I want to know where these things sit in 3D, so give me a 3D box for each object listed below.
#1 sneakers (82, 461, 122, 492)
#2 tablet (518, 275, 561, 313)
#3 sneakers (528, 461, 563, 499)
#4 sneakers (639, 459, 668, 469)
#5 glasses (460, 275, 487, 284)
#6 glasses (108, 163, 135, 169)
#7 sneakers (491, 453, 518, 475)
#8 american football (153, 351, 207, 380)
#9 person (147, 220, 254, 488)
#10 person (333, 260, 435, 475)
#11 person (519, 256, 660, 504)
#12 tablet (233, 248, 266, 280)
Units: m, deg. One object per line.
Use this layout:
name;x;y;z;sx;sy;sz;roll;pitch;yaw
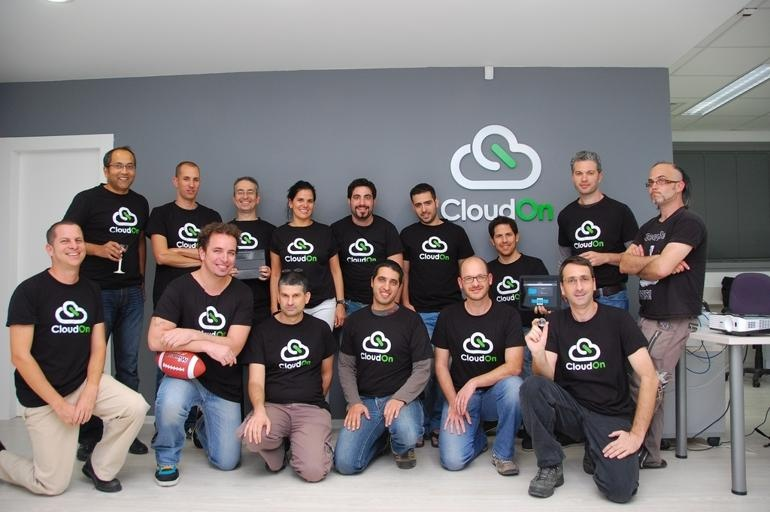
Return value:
sneakers;-2.067;1.607;4.321;0.392;0.159;0.142;8;-1;31
tablet;1.321;0.323;5.069;0.448;0.310;0.097;2;-6;-19
sneakers;1.150;1.613;4.200;0.130;0.162;0.341;-2;-6;33
sneakers;2.078;1.593;4.499;0.168;0.043;0.077;-3;-1;7
glasses;0.724;0.177;4.684;0.236;0.099;0.107;0;6;6
glasses;-2.279;-0.777;5.061;0.189;0.051;0.065;-4;7;-29
sneakers;0.921;1.595;4.491;0.090;0.092;0.221;-1;6;-10
american football;-1.541;0.824;4.431;0.338;0.186;0.185;8;5;10
person;-1.402;0.707;4.503;0.772;1.905;0.464;-3;6;-19
person;-0.004;0.850;4.606;0.765;1.586;0.515;-1;6;2
person;1.489;0.841;4.279;0.961;1.654;0.652;1;6;12
tablet;-1.208;0.079;5.370;0.434;0.288;0.228;-1;-12;-3
